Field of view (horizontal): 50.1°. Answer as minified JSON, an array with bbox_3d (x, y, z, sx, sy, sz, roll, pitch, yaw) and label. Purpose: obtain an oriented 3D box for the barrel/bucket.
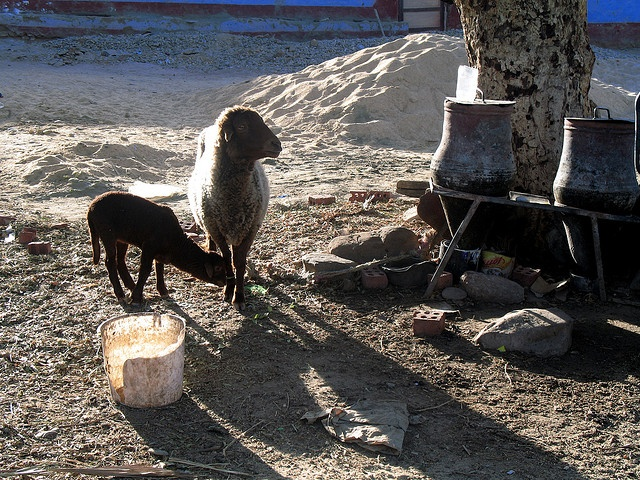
[{"bbox_3d":[-1.553,1.051,6.277,1.024,0.567,0.860,4,11,26],"label":"barrel/bucket"}]
